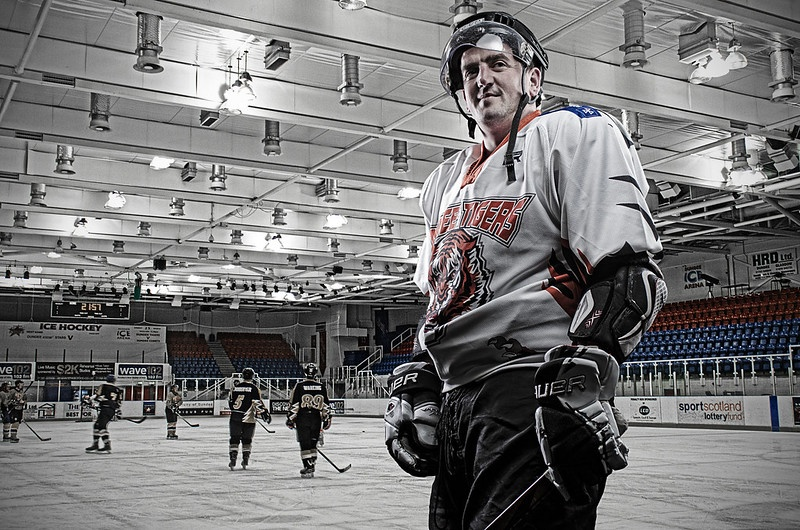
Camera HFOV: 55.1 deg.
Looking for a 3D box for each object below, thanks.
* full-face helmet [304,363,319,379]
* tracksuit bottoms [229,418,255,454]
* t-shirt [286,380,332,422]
[{"bbox_3d":[-2.016,2.367,17.134,0.327,0.174,0.437,3,-42,-5],"label":"full-face helmet"},{"bbox_3d":[-3.443,3.709,16.614,0.509,0.675,0.867,2,-11,-12],"label":"tracksuit bottoms"},{"bbox_3d":[-2.003,3.033,16.720,1.077,0.960,0.374,9,-17,-29],"label":"t-shirt"}]
